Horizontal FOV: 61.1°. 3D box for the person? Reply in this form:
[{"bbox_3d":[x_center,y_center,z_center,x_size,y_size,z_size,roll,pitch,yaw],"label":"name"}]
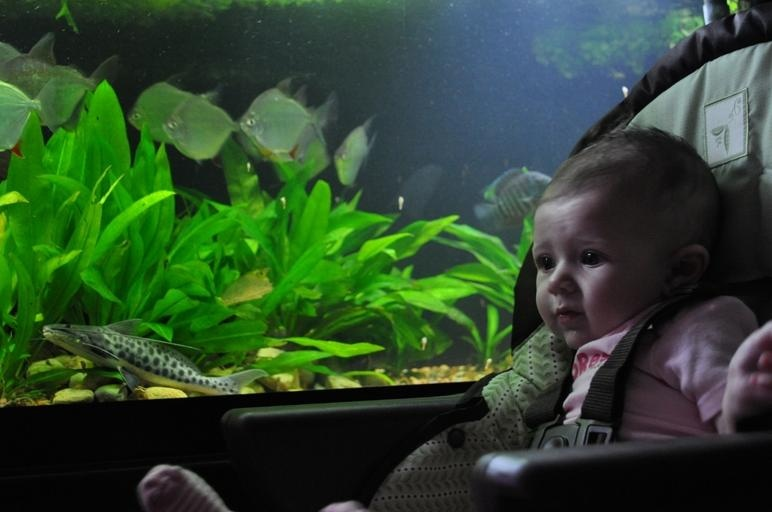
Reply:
[{"bbox_3d":[0.086,0.062,2.045,1.468,1.428,0.956,3,-8,-18],"label":"person"}]
